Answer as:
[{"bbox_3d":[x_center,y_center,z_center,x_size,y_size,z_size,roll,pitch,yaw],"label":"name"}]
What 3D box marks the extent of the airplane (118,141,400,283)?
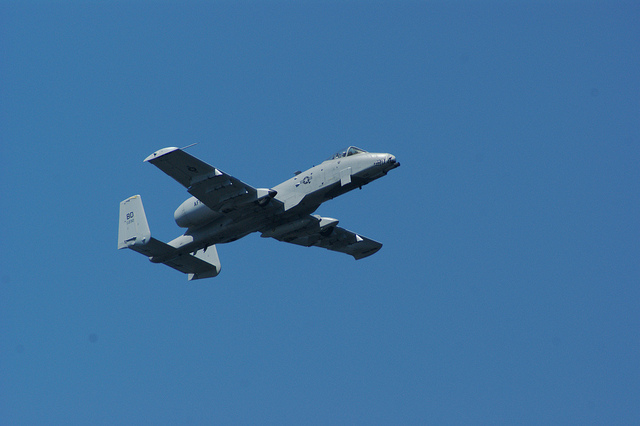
[{"bbox_3d":[-3.119,-0.074,54.461,7.740,7.499,1.911,-23,54,23],"label":"airplane"}]
